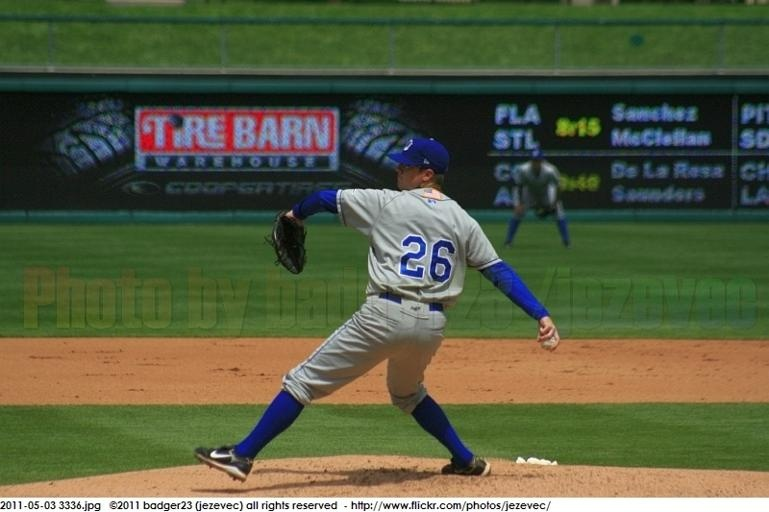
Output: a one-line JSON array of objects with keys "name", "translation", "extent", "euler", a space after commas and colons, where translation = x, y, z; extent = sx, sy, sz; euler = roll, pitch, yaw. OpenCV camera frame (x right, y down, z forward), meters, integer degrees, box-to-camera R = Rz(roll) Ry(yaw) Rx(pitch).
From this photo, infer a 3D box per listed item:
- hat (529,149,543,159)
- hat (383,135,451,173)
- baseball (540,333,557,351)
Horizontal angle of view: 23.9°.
[{"name": "hat", "translation": [2.493, -1.710, 29.876], "extent": [0.178, 0.103, 0.173], "euler": [-7, 7, -42]}, {"name": "hat", "translation": [0.507, -1.418, 24.856], "extent": [0.716, 0.374, 0.481], "euler": [8, 8, 0]}, {"name": "baseball", "translation": [2.237, 1.165, 24.588], "extent": [0.181, 0.107, 0.227], "euler": [18, -53, -44]}]
